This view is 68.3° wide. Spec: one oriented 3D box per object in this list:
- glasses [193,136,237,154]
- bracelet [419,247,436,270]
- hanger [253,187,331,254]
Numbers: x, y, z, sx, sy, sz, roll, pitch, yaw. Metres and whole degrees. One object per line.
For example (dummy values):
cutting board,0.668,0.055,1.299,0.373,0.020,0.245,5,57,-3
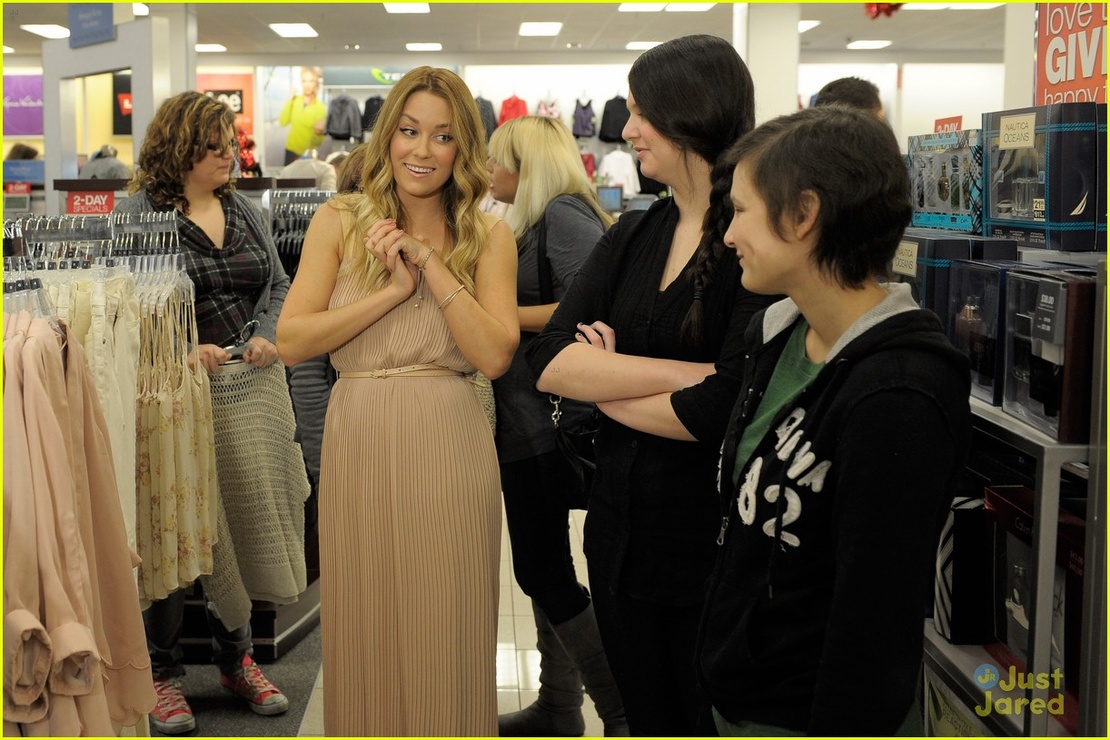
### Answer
glasses,-1.397,-0.910,3.380,0.102,0.042,0.077,-5,6,-43
bracelet,-0.365,-0.323,2.349,0.015,0.048,0.034,8,-1,-24
hanger,-1.282,-0.756,4.081,0.377,0.233,0.499,0,11,0
